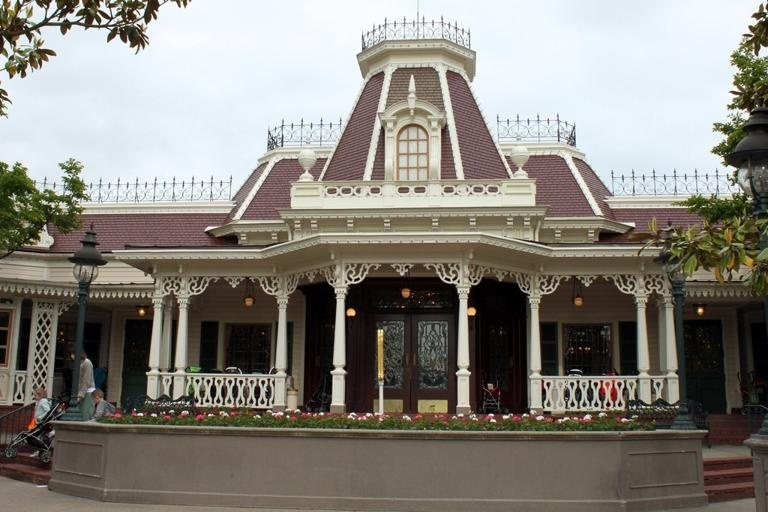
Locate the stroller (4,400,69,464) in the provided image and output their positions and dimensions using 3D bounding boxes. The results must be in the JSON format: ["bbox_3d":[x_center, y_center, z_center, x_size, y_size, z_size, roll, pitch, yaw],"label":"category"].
[{"bbox_3d":[-7.699,4.020,18.727,1.710,1.260,0.995,3,8,40],"label":"stroller"}]
